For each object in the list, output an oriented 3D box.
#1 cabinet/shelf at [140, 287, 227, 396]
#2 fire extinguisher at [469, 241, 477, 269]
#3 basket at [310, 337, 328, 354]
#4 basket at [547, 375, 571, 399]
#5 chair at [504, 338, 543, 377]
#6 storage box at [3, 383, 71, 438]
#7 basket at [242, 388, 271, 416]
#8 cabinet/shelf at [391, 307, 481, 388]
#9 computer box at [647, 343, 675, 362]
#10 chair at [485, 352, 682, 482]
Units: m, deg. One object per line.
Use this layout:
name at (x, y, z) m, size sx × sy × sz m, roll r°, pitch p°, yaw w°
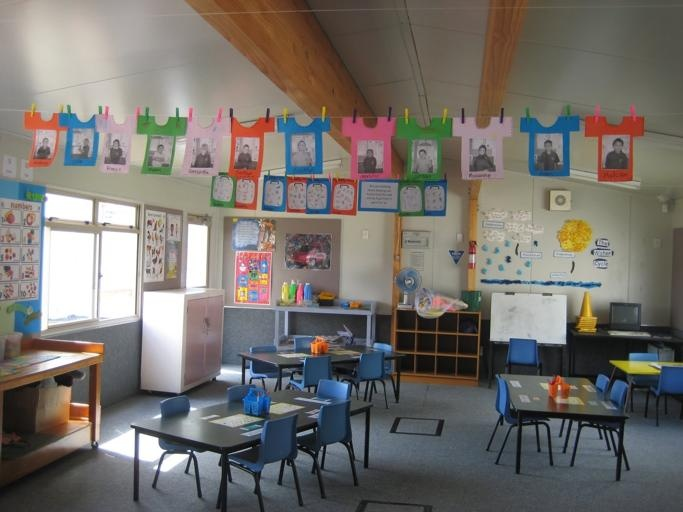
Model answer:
cabinet/shelf at (-2.520, 1.343, 8.239) m, size 0.641 × 1.402 × 1.683 m, roll 0°, pitch 0°, yaw 12°
fire extinguisher at (2.391, -0.028, 9.598) m, size 0.144 × 0.476 × 0.312 m, roll 3°, pitch 4°, yaw 15°
basket at (-0.335, 1.310, 7.768) m, size 0.222 × 0.214 × 0.228 m, roll -3°, pitch -4°, yaw 43°
basket at (2.588, 1.569, 6.325) m, size 0.271 × 0.281 × 0.180 m, roll 2°, pitch -1°, yaw 14°
chair at (3.071, 1.809, 8.889) m, size 0.567 × 0.828 × 0.590 m, roll -1°, pitch -5°, yaw 20°
storage box at (-3.512, 1.699, 6.138) m, size 0.467 × 0.566 × 0.834 m, roll 0°, pitch -3°, yaw 16°
basket at (-0.852, 1.492, 5.438) m, size 0.274 × 0.285 × 0.206 m, roll 0°, pitch -1°, yaw 14°
cabinet/shelf at (1.756, 1.665, 9.503) m, size 2.019 × 0.631 × 1.723 m, roll 4°, pitch 21°, yaw 17°
computer box at (5.356, 1.590, 8.838) m, size 0.274 × 0.451 × 0.465 m, roll 1°, pitch 1°, yaw 14°
chair at (2.574, 1.926, 6.287) m, size 1.342 × 0.959 × 1.329 m, roll 3°, pitch 4°, yaw 12°
